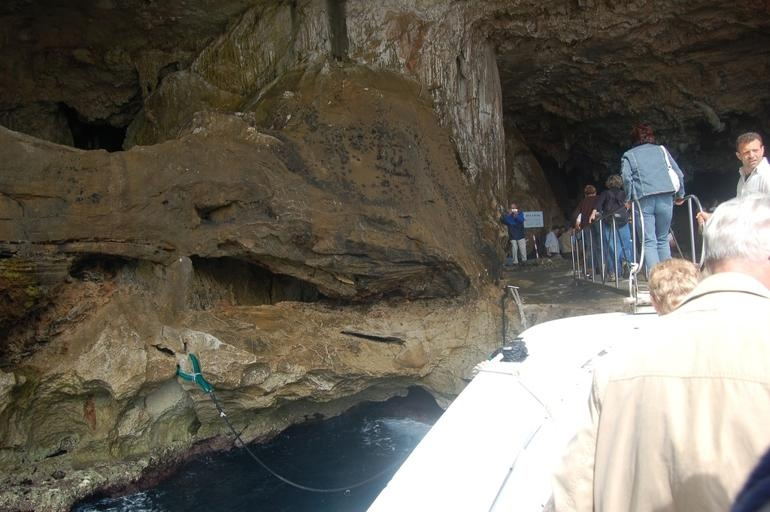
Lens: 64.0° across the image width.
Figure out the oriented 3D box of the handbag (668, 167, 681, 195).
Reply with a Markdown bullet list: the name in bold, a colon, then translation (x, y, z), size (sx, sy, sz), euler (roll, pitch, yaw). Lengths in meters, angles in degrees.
- **handbag**: translation (3.699, -0.969, 7.874), size (0.202, 0.287, 0.079), euler (16, -11, -35)
